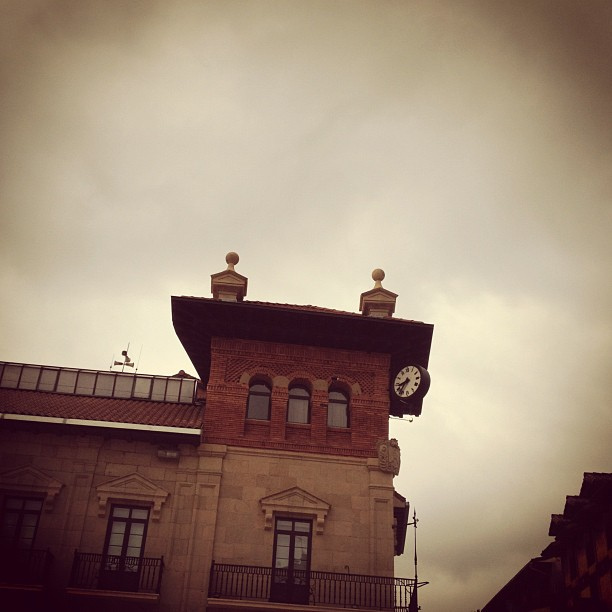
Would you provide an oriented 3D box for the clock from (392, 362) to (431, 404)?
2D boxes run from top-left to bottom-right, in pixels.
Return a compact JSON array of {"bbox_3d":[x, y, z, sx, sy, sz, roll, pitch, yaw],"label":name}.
[{"bbox_3d":[3.234,2.359,23.062,0.407,1.165,1.112,27,-36,-33],"label":"clock"}]

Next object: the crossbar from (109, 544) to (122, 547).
[{"bbox_3d":[-5.032,6.341,20.066,0.442,0.052,0.092,0,-8,-9],"label":"crossbar"}]

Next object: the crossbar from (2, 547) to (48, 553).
[{"bbox_3d":[-7.119,6.176,19.157,0.818,0.036,0.038,9,-49,7],"label":"crossbar"}]

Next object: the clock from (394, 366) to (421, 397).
[{"bbox_3d":[3.115,2.325,23.028,0.111,0.791,0.815,33,-61,-25],"label":"clock"}]
